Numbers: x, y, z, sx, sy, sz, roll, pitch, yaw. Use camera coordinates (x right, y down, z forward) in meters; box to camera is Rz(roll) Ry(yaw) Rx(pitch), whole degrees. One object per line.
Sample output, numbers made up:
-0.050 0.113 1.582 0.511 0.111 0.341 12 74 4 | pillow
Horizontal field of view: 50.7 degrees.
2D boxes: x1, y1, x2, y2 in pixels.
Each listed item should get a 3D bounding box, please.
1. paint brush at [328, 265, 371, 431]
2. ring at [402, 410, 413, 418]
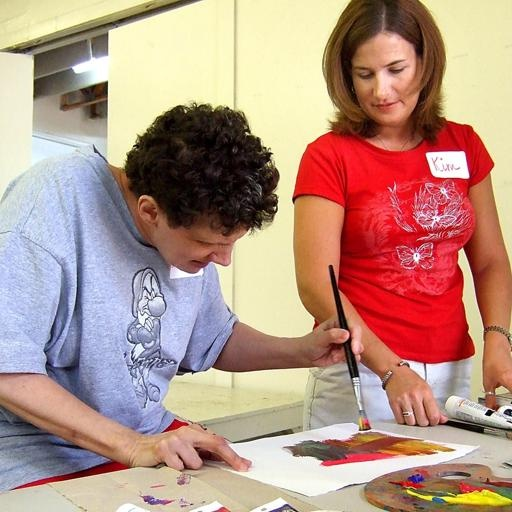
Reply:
0.177 0.160 1.140 0.034 0.407 0.052 -16 -29 6 | paint brush
0.302 0.318 1.081 0.017 0.005 0.011 -10 17 -23 | ring
